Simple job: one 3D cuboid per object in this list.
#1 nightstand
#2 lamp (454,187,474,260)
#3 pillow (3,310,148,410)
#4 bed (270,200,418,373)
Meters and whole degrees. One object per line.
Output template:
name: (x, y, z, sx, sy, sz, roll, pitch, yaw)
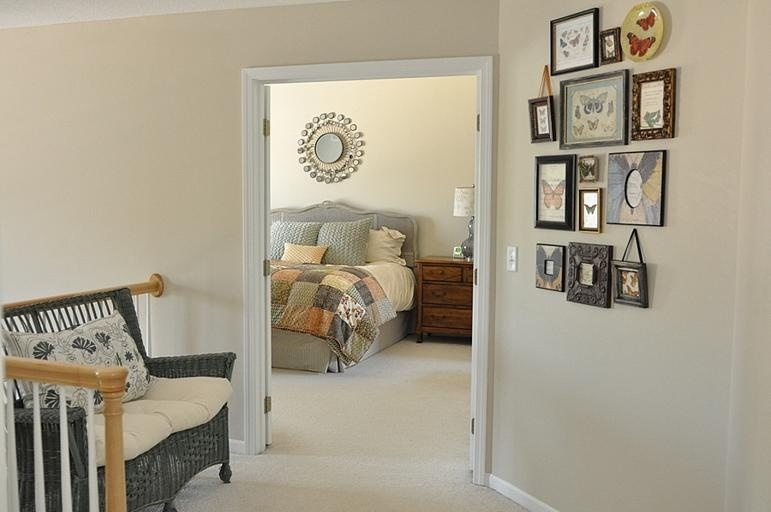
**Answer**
nightstand: (0.628, 0.456, 6.252, 0.899, 0.984, 0.516, 1, 0, 15)
lamp: (0.843, -0.360, 6.414, 0.203, 0.760, 0.510, 1, 10, 4)
pillow: (-1.578, 0.531, 2.942, 0.194, 0.357, 0.516, -21, -7, 25)
bed: (-0.565, 0.327, 6.183, 1.745, 1.146, 1.711, 1, 4, 21)
